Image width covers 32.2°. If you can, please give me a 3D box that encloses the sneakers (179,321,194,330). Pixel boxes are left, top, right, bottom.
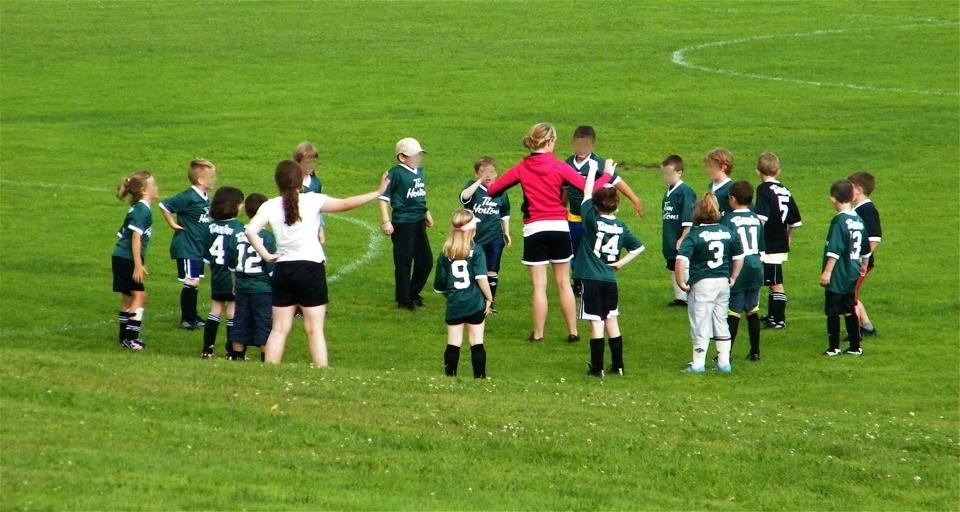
[{"bbox_3d":[-10.691,2.586,61.712,0.623,0.213,0.189,2,-14,-2],"label":"sneakers"}]

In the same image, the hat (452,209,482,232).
[{"bbox_3d":[-0.433,-1.317,59.075,0.795,0.422,0.899,17,40,23],"label":"hat"}]

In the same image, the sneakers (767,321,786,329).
[{"bbox_3d":[11.064,2.576,62.100,0.797,0.255,0.248,3,4,1],"label":"sneakers"}]

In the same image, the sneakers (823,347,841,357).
[{"bbox_3d":[12.823,3.523,60.795,0.734,0.242,0.237,-10,12,5],"label":"sneakers"}]

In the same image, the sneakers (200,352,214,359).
[{"bbox_3d":[-9.713,3.598,60.057,0.537,0.145,0.208,-2,13,-6],"label":"sneakers"}]

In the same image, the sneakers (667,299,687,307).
[{"bbox_3d":[7.541,1.803,63.384,0.681,0.246,0.273,0,2,39],"label":"sneakers"}]

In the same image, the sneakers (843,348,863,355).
[{"bbox_3d":[13.644,3.489,60.783,0.740,0.240,0.235,5,3,0],"label":"sneakers"}]

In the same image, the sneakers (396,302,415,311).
[{"bbox_3d":[-2.701,1.902,62.973,0.759,0.240,0.241,0,14,4],"label":"sneakers"}]
